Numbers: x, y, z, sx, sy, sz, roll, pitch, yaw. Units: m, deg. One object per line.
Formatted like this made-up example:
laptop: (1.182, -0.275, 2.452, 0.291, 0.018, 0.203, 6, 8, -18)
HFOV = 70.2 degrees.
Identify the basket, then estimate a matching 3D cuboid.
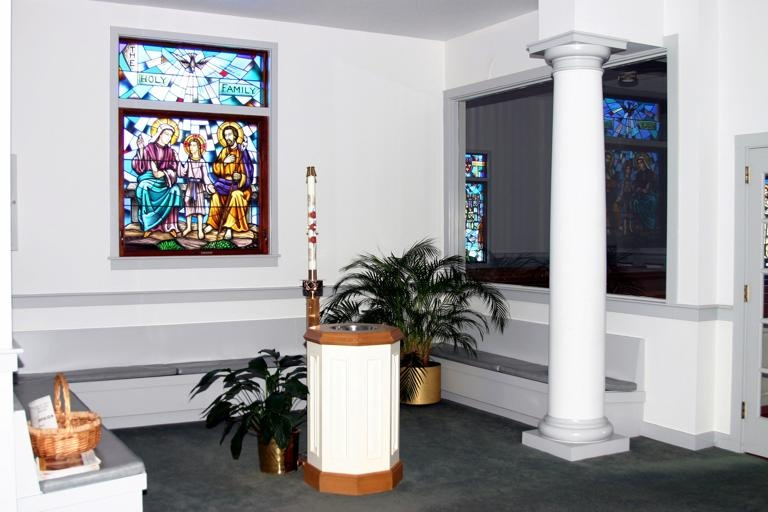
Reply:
basket: (-1.659, 0.816, 2.829, 0.380, 0.357, 0.273, 1, 1, -41)

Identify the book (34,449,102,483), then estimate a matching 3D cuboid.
book: (-1.596, 1.040, 2.762, 0.277, 0.067, 0.246, -2, 3, -35)

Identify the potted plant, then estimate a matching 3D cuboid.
potted plant: (0.367, 0.826, 5.933, 2.036, 1.636, 1.698, 1, -4, -38)
